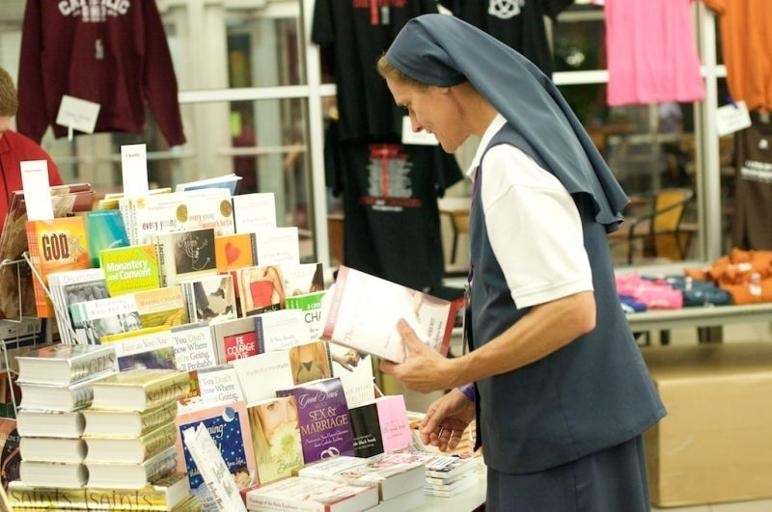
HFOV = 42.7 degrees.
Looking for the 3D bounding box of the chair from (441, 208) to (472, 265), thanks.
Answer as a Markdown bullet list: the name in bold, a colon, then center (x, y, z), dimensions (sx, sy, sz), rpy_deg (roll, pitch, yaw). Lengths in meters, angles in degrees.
- **chair**: center (0.605, -0.177, 8.312), dimensions (0.341, 0.427, 0.356), rpy_deg (0, 4, 4)
